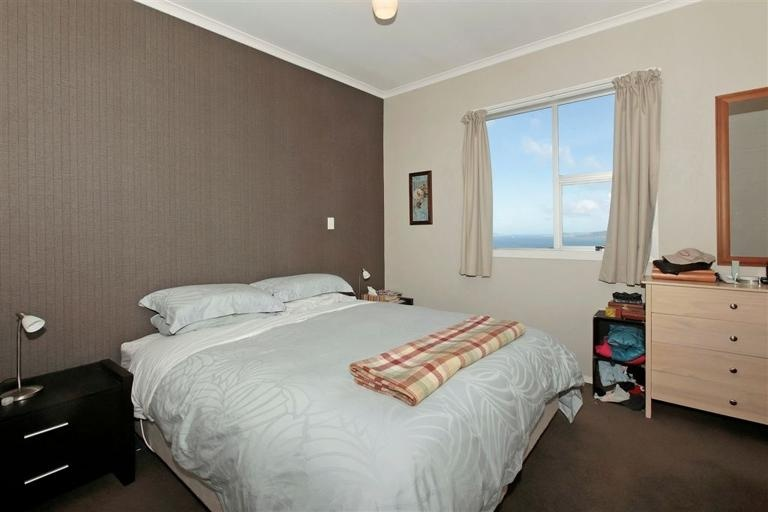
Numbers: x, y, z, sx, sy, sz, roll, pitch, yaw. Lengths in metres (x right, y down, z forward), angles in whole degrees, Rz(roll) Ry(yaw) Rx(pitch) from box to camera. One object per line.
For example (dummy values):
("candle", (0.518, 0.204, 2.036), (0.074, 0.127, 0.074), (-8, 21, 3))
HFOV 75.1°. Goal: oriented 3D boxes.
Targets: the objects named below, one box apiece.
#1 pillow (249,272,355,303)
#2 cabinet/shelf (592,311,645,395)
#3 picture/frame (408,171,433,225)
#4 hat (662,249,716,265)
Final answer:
("pillow", (-0.797, 0.300, 5.054), (0.606, 0.152, 0.401), (-3, 6, -42))
("cabinet/shelf", (2.245, 0.917, 4.772), (0.441, 0.790, 0.324), (1, 7, 24))
("picture/frame", (0.446, -0.705, 6.053), (0.335, 0.635, 0.066), (3, 8, 36))
("hat", (2.701, 0.009, 4.426), (0.287, 0.093, 0.195), (4, 9, 39))
